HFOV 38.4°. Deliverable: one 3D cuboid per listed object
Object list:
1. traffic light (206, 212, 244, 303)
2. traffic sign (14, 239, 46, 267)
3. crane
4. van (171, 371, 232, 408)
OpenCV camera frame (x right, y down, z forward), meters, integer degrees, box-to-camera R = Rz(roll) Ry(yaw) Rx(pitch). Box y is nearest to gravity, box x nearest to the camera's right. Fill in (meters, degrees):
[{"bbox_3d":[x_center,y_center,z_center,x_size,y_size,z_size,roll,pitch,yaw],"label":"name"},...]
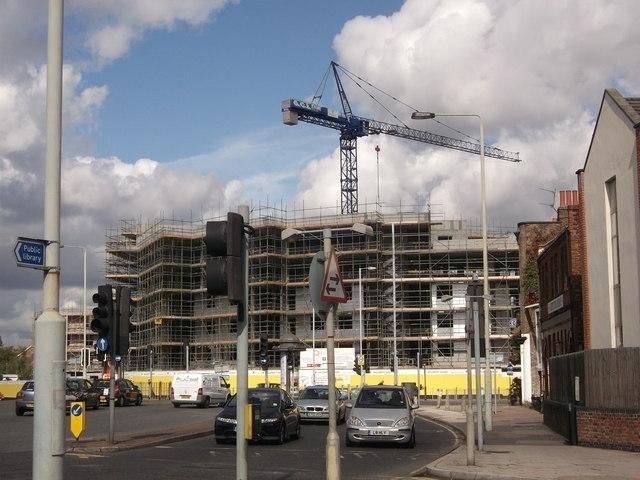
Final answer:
[{"bbox_3d":[-1.917,0.369,17.890,0.631,1.684,0.671,1,-12,-15],"label":"traffic light"},{"bbox_3d":[-5.594,0.251,17.634,0.431,0.432,0.084,10,-14,-41],"label":"traffic sign"},{"bbox_3d":[10.105,-11.565,124.185,33.435,21.254,5.058,7,-12,-34],"label":"crane"},{"bbox_3d":[-7.109,9.078,55.673,2.184,2.089,4.287,-1,-8,24],"label":"van"}]
